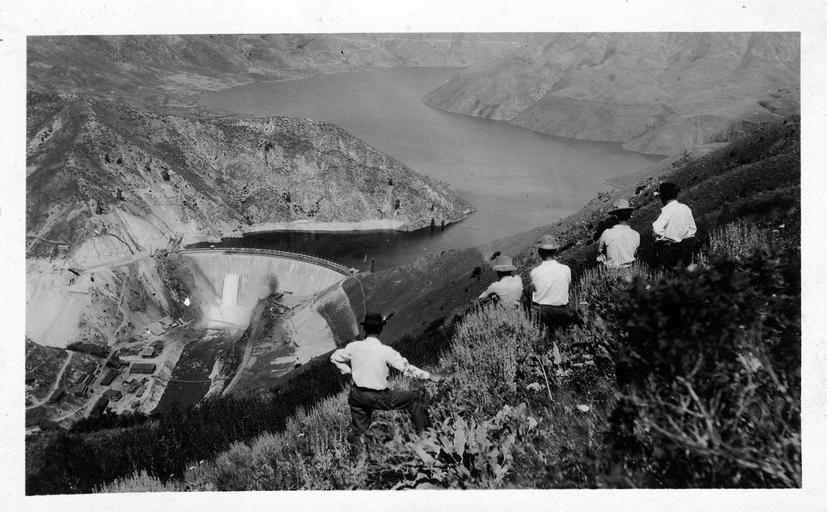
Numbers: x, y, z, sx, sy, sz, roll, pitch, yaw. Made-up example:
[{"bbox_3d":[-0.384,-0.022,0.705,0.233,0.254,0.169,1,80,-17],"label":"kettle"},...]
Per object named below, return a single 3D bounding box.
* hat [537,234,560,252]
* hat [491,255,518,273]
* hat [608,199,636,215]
[{"bbox_3d":[4.500,-0.464,19.933,0.594,0.478,0.794,7,14,11],"label":"hat"},{"bbox_3d":[3.071,0.303,20.301,0.794,0.383,0.909,-1,-4,4],"label":"hat"},{"bbox_3d":[7.350,-1.787,21.399,0.846,0.345,0.910,-3,-13,4],"label":"hat"}]
